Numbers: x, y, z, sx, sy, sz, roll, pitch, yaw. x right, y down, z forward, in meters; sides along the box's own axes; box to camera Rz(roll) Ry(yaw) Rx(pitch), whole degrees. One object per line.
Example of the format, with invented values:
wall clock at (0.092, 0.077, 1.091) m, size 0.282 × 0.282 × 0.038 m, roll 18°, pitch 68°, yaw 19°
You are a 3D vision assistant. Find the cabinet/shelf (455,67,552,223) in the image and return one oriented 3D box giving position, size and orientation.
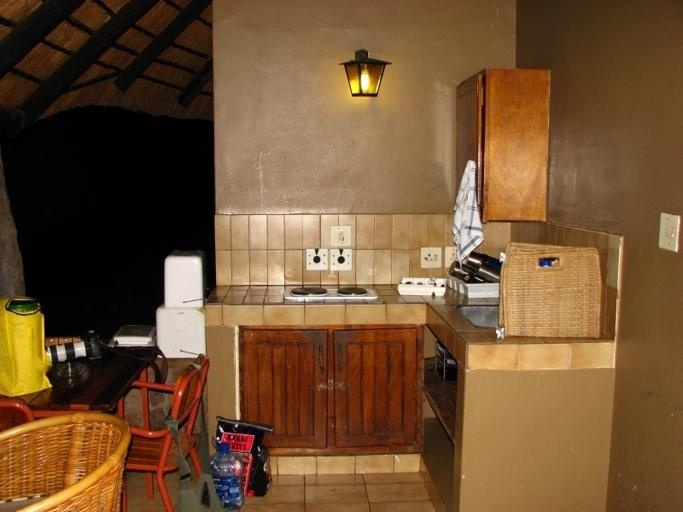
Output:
cabinet/shelf at (0.955, -0.631, 3.354) m, size 0.325 × 0.947 × 0.813 m, roll -1°, pitch 7°, yaw 6°

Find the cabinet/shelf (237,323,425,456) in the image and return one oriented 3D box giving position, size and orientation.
cabinet/shelf at (-0.051, 0.661, 3.759) m, size 1.173 × 0.949 × 0.717 m, roll 0°, pitch 1°, yaw -1°

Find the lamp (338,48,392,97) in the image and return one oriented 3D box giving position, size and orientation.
lamp at (0.147, -1.128, 3.627) m, size 0.269 × 0.326 × 0.314 m, roll -1°, pitch 7°, yaw -8°

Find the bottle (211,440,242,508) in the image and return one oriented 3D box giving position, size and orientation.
bottle at (-0.670, 1.285, 3.361) m, size 0.189 × 0.352 × 0.124 m, roll 2°, pitch 0°, yaw 0°

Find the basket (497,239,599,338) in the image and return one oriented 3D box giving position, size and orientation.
basket at (1.031, 0.179, 2.759) m, size 0.432 × 0.497 × 0.164 m, roll 3°, pitch 5°, yaw 2°

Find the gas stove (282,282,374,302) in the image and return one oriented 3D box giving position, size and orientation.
gas stove at (-0.072, 0.244, 3.646) m, size 0.591 × 0.096 × 0.316 m, roll 2°, pitch -1°, yaw -4°
